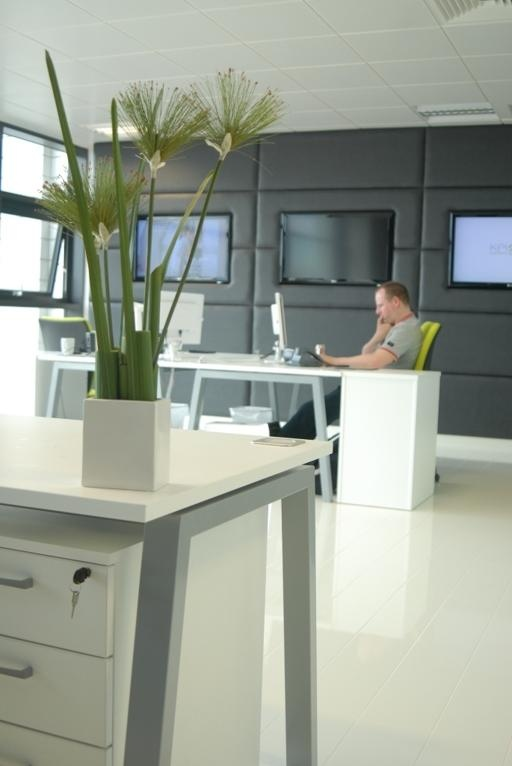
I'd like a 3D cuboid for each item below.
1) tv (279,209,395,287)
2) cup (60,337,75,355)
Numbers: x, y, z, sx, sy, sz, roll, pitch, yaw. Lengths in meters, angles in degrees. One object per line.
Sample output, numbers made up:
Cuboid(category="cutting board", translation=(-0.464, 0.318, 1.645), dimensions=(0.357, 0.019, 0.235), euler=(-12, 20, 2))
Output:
Cuboid(category="tv", translation=(0.902, -1.438, 6.505), dimensions=(1.058, 0.783, 0.119), euler=(2, 5, 20))
Cuboid(category="cup", translation=(-1.500, -0.296, 5.050), dimensions=(0.110, 0.139, 0.140), euler=(-3, 9, -41))
